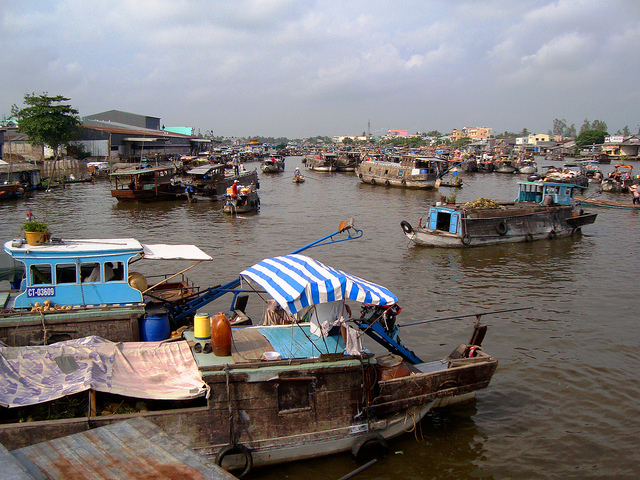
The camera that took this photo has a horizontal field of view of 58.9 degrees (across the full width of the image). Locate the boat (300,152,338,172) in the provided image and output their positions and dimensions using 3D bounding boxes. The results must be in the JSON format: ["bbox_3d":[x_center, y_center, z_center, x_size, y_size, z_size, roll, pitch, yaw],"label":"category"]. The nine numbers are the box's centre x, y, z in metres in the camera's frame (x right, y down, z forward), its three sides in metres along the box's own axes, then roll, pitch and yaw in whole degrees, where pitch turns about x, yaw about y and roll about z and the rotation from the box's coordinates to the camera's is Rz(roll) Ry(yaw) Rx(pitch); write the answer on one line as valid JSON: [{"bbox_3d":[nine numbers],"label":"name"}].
[{"bbox_3d":[0.133,-11.804,85.486,2.750,1.833,7.977,1,13,-19],"label":"boat"}]

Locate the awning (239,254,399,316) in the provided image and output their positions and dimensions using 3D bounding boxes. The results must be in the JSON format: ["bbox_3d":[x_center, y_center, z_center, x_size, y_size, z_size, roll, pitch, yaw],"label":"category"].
[{"bbox_3d":[-0.374,0.875,12.720,2.214,0.470,2.020,-5,21,-35],"label":"awning"}]

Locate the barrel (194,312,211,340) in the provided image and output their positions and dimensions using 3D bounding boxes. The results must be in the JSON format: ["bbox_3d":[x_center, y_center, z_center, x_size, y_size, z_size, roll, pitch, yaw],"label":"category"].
[{"bbox_3d":[-2.675,1.937,12.904,0.379,0.561,0.461,-5,9,-13],"label":"barrel"}]

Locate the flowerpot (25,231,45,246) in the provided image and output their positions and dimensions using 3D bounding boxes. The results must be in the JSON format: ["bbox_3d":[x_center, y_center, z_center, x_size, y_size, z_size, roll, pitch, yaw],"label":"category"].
[{"bbox_3d":[-7.027,-0.049,14.020,0.454,0.244,0.384,2,-1,-3],"label":"flowerpot"}]

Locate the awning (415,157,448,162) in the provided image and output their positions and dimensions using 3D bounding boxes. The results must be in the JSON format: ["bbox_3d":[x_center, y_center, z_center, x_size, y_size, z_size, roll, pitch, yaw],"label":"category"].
[{"bbox_3d":[10.393,-7.724,54.251,2.244,0.450,1.927,-4,7,-16],"label":"awning"}]

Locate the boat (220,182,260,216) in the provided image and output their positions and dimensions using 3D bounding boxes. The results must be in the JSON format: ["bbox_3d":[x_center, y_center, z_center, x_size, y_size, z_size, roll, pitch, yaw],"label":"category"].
[{"bbox_3d":[-5.546,-2.779,39.821,1.457,1.285,4.216,3,13,11],"label":"boat"}]

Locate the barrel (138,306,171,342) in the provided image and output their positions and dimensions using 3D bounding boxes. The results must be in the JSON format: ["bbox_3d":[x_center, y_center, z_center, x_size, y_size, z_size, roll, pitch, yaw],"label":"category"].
[{"bbox_3d":[-4.024,2.001,13.859,0.831,0.683,0.789,1,3,35],"label":"barrel"}]

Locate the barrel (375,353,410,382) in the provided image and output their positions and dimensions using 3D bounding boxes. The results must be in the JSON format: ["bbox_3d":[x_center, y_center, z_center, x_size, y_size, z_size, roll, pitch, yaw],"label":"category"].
[{"bbox_3d":[1.619,2.840,12.712,0.638,0.440,0.547,-2,-8,-12],"label":"barrel"}]
